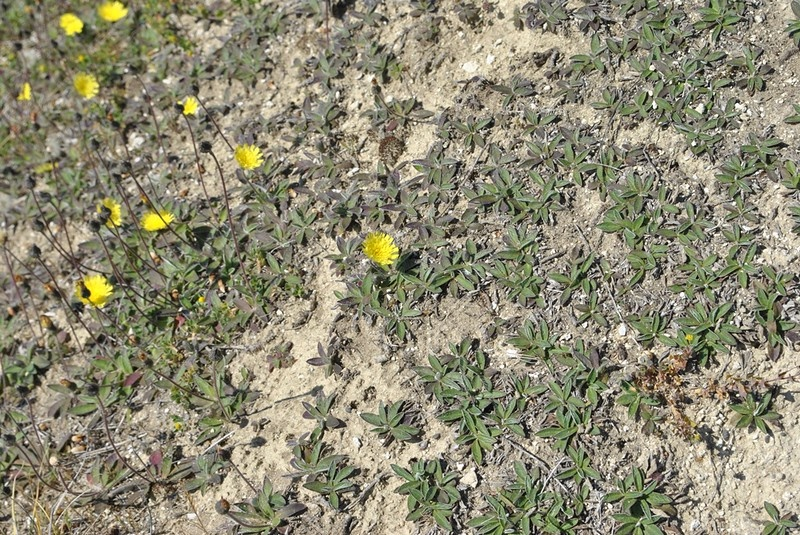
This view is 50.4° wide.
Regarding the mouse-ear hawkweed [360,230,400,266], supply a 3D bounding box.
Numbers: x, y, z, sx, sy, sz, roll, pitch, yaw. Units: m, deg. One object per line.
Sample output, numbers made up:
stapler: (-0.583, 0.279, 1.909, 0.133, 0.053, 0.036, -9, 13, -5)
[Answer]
mouse-ear hawkweed: (-0.164, -0.146, 7.070, 0.115, 0.271, 0.274, -19, 42, 54)
